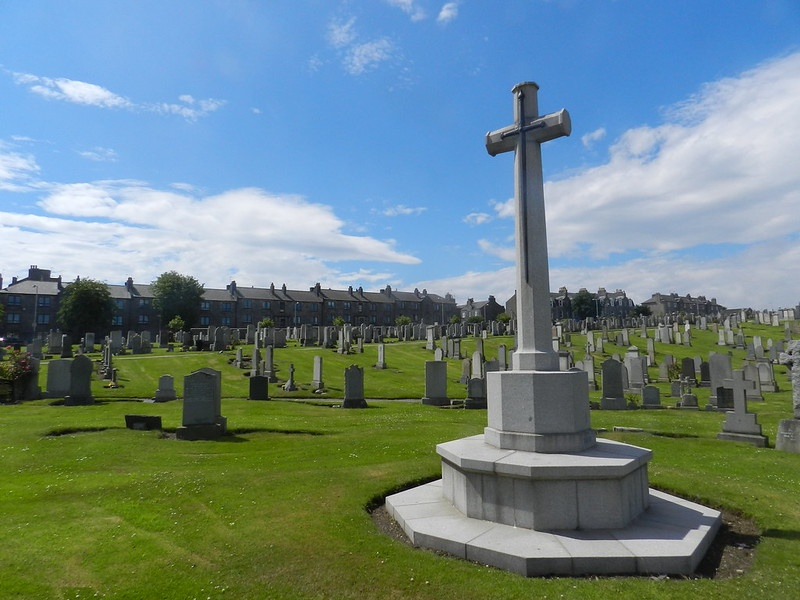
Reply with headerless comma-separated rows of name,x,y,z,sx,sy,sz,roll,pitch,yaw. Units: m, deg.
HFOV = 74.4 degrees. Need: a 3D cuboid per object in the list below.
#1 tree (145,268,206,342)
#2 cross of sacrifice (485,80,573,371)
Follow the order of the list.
tree,-31.688,1.180,74.879,7.843,9.241,9.472,-2,-7,-8
cross of sacrifice,2.653,-1.582,10.714,1.138,5.909,1.383,0,4,0
